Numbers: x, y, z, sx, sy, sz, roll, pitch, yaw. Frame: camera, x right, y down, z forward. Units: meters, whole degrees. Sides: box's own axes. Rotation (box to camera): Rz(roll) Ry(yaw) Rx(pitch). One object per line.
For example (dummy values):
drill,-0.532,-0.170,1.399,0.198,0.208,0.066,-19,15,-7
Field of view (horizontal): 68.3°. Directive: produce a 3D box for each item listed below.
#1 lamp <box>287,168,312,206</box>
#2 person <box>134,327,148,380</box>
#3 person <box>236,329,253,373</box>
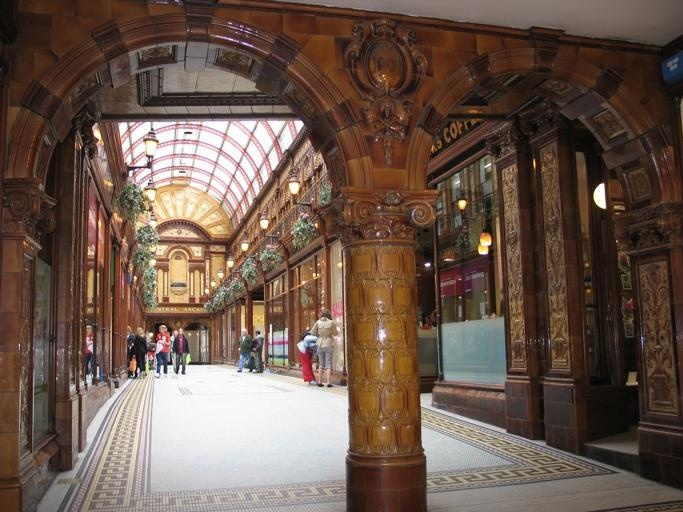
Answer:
lamp,-1.373,-2.163,16.452,0.797,1.350,0.469,-1,-25,-6
person,-7.896,3.735,19.738,0.437,1.571,2.634,2,-14,-22
person,-4.622,4.567,24.229,0.777,2.115,0.751,2,14,6
